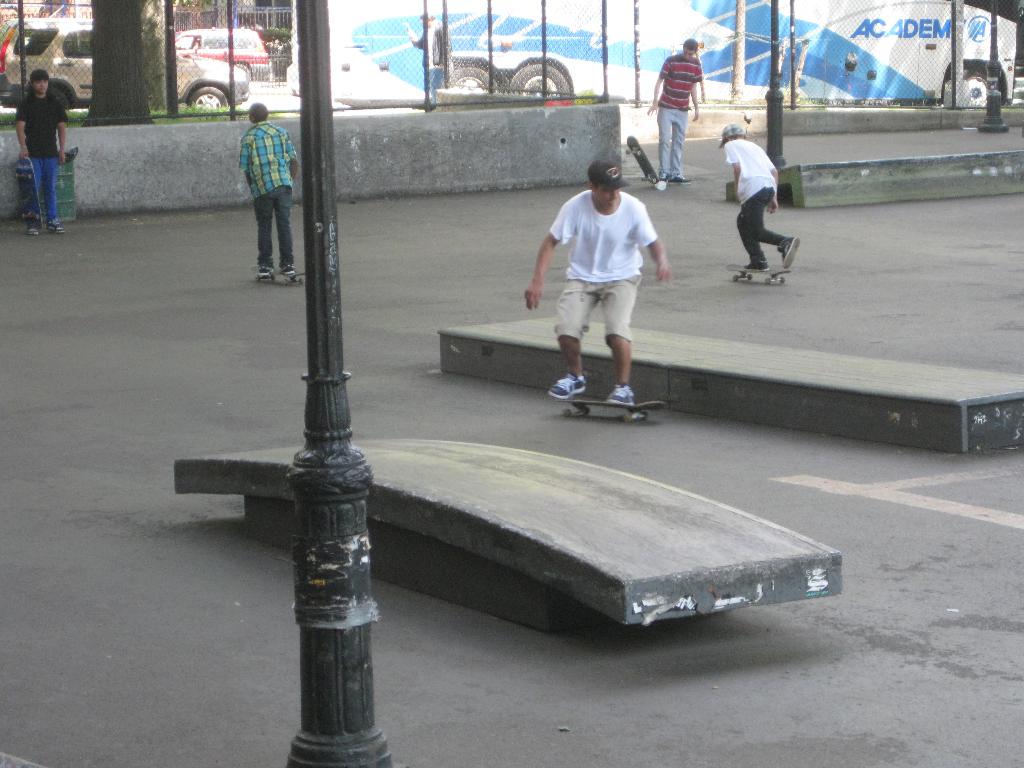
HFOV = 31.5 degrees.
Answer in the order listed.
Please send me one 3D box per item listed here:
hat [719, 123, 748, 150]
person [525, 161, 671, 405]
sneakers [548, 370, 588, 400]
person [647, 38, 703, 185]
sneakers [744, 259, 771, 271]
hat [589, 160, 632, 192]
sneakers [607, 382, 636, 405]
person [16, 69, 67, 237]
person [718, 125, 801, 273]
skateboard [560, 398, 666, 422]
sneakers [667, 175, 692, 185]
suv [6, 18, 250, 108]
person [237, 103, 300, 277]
[{"bbox_3d":[2.416,-2.740,19.867,0.215,0.152,0.293,-5,11,-29],"label":"hat"},{"bbox_3d":[0.698,-0.810,14.491,1.120,1.984,0.975,3,13,0],"label":"person"},{"bbox_3d":[0.478,0.014,14.455,0.353,0.147,0.135,-2,7,-28],"label":"sneakers"},{"bbox_3d":[2.576,-4.237,28.532,0.678,2.343,1.238,3,13,4],"label":"person"},{"bbox_3d":[2.695,-1.309,19.837,0.094,0.125,0.295,-10,15,-36],"label":"sneakers"},{"bbox_3d":[0.722,-1.654,14.197,0.200,0.159,0.281,-28,37,-34],"label":"hat"},{"bbox_3d":[0.861,0.084,14.186,0.205,0.175,0.256,3,13,3],"label":"sneakers"},{"bbox_3d":[-6.387,-3.168,24.635,0.588,2.220,0.909,4,13,8],"label":"person"},{"bbox_3d":[2.747,-2.072,20.151,0.907,1.603,1.520,4,13,8],"label":"person"},{"bbox_3d":[0.818,0.177,14.246,0.900,0.153,0.277,5,17,33],"label":"skateboard"},{"bbox_3d":[2.737,-3.318,29.416,0.348,0.133,0.121,0,9,-13],"label":"sneakers"},{"bbox_3d":[-6.503,-5.349,31.322,4.023,1.620,1.840,-4,13,-11],"label":"suv"},{"bbox_3d":[-2.735,-2.196,20.488,0.618,1.971,0.776,1,13,-8],"label":"person"}]
